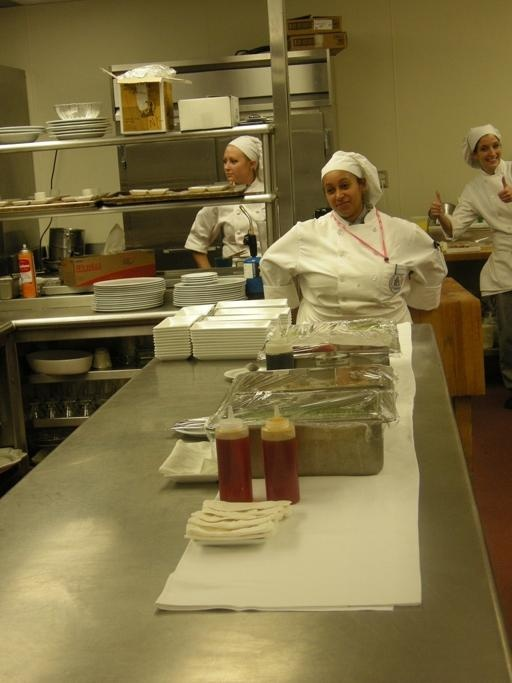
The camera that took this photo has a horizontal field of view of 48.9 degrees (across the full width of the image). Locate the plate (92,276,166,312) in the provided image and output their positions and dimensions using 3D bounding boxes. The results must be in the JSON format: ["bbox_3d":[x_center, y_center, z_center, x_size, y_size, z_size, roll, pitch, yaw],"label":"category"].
[{"bbox_3d":[-0.676,-0.241,3.004,0.388,0.163,0.197,-8,8,-15],"label":"plate"}]

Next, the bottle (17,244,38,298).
[{"bbox_3d":[-1.294,-0.384,3.158,0.087,0.291,0.206,-10,9,-22],"label":"bottle"}]

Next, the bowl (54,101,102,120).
[{"bbox_3d":[-0.922,-1.173,2.882,0.157,0.059,0.151,1,11,0],"label":"bowl"}]

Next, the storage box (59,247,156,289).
[{"bbox_3d":[-0.889,-0.432,3.359,0.514,0.169,0.375,-7,9,-18],"label":"storage box"}]

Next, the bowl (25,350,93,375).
[{"bbox_3d":[-1.068,0.121,3.075,0.315,0.122,0.397,-10,9,-26],"label":"bowl"}]

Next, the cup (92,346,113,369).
[{"bbox_3d":[-0.830,0.094,3.099,0.110,0.101,0.111,0,9,0],"label":"cup"}]

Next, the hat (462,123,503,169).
[{"bbox_3d":[1.746,-1.527,4.484,0.342,0.346,0.352,-6,19,0],"label":"hat"}]

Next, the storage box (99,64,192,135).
[{"bbox_3d":[-0.550,-1.207,2.951,0.442,0.284,0.421,-3,20,-4],"label":"storage box"}]
